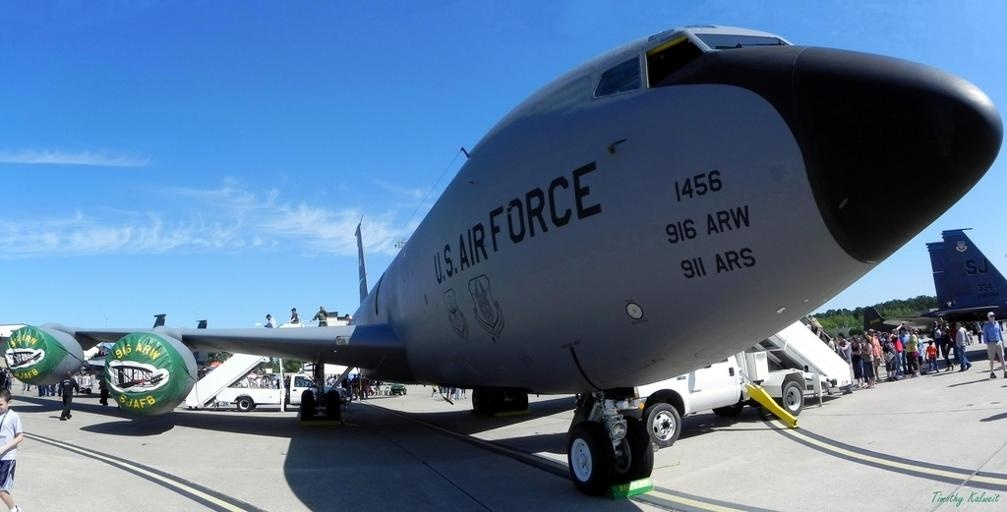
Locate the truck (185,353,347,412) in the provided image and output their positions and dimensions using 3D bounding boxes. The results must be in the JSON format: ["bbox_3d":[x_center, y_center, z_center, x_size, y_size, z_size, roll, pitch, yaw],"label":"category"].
[{"bbox_3d":[-13.854,7.242,32.413,7.886,3.038,2.588,5,-2,-6],"label":"truck"}]

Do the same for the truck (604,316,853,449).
[{"bbox_3d":[9.411,3.818,21.965,12.000,4.290,3.923,-3,5,-27],"label":"truck"}]
